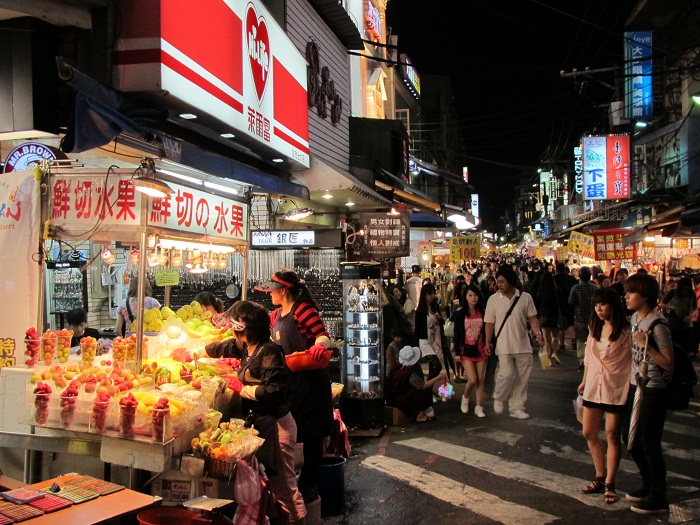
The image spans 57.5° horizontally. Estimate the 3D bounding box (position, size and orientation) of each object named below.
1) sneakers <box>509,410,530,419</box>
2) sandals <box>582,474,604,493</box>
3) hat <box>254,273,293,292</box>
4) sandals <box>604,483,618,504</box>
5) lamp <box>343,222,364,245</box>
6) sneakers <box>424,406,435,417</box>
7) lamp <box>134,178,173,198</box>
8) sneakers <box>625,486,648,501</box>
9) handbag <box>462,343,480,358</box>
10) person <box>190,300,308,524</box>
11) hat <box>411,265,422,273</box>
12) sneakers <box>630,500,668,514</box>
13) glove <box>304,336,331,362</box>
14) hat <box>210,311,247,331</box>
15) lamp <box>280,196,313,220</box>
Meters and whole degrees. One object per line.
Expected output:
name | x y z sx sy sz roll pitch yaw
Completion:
sneakers | 2.975 2.671 11.191 0.302 0.147 0.128 -4 -3 35
sandals | 3.145 2.846 8.216 0.270 0.206 0.218 0 6 18
hat | -0.945 0.267 7.836 0.435 0.186 0.285 -5 -1 -6
sandals | 3.282 2.867 7.991 0.161 0.213 0.303 1 6 24
lamp | 0.128 -0.684 15.367 0.254 0.544 0.702 -4 6 -28
sneakers | 1.427 2.673 11.414 0.132 0.181 0.190 -5 5 5
lamp | -2.286 -0.843 7.278 0.484 0.195 0.442 -7 8 -42
sneakers | 3.563 2.872 7.935 0.291 0.137 0.115 -2 -7 20
handbag | 2.202 1.510 11.599 0.357 0.340 0.194 0 7 11
person | -0.986 1.643 7.080 1.102 2.467 0.641 3 7 41
hat | 2.061 0.176 19.954 0.202 0.271 0.268 -1 -14 3
sneakers | 3.617 2.937 7.739 0.437 0.194 0.173 2 -7 9
glove | -0.385 0.975 7.209 0.207 0.133 0.307 0 4 -27
hat | -1.361 0.632 6.983 0.372 0.216 0.249 6 2 4
lamp | -1.177 -1.087 13.644 0.602 0.414 0.842 -8 9 -30
